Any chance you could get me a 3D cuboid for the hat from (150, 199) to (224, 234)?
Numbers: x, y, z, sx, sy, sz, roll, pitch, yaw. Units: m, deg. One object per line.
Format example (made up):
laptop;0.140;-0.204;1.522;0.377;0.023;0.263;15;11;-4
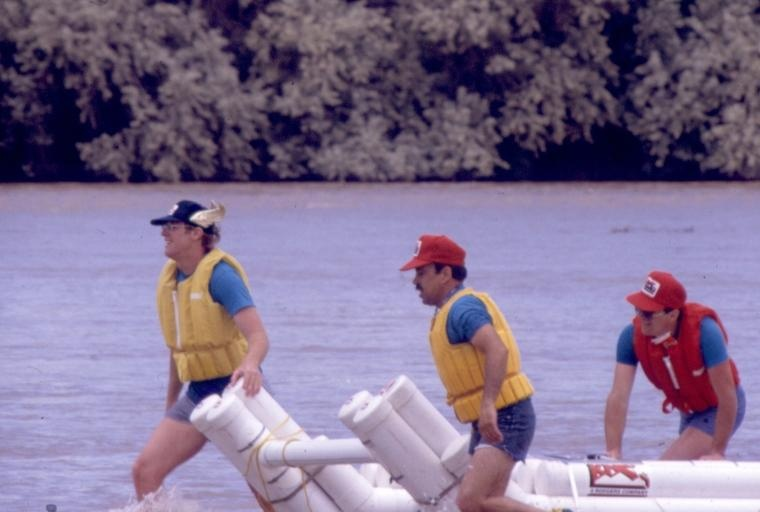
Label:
hat;-4.273;-0.987;45.883;1.138;0.618;0.906;9;5;-1
